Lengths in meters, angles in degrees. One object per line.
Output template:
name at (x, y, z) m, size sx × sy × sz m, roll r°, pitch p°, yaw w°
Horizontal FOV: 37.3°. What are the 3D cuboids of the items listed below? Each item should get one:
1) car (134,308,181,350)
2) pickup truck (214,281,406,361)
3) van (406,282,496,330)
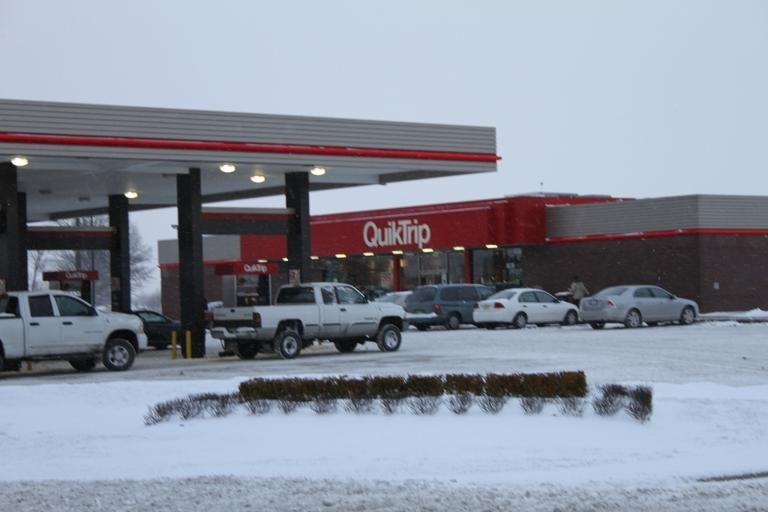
car at (-7.784, 2.530, 39.227) m, size 1.974 × 1.038 × 1.282 m, roll -2°, pitch 1°, yaw -22°
pickup truck at (-2.070, 1.895, 33.698) m, size 5.881 × 2.165 × 2.696 m, roll -1°, pitch -2°, yaw -41°
van at (2.474, 1.923, 43.526) m, size 3.751 × 1.604 × 1.535 m, roll 0°, pitch -1°, yaw -40°
